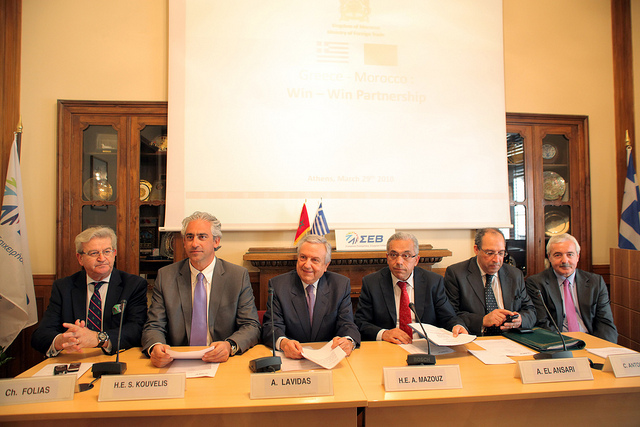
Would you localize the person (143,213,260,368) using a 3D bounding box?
[{"bbox_3d":[-0.989,0.674,4.024,0.892,1.369,0.986,3,-10,-7],"label":"person"}]

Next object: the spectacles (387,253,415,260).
[{"bbox_3d":[0.734,0.380,4.262,0.221,0.061,0.059,-1,6,11],"label":"spectacles"}]

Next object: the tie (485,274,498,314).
[{"bbox_3d":[1.601,0.743,4.442,0.105,0.328,0.140,0,7,19],"label":"tie"}]

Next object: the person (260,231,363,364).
[{"bbox_3d":[-0.089,0.697,4.215,0.874,1.292,0.932,0,-5,-5],"label":"person"}]

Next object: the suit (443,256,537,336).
[{"bbox_3d":[1.505,0.736,4.614,0.970,0.977,0.568,1,-11,-3],"label":"suit"}]

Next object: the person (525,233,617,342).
[{"bbox_3d":[2.347,0.777,4.430,0.701,1.074,0.820,-1,-4,13],"label":"person"}]

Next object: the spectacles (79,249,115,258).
[{"bbox_3d":[-1.896,0.353,4.127,0.233,0.059,0.074,-4,6,-25],"label":"spectacles"}]

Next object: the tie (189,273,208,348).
[{"bbox_3d":[-1.027,0.817,4.025,0.156,0.583,0.121,-4,7,-16],"label":"tie"}]

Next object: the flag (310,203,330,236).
[{"bbox_3d":[0.008,0.074,5.281,0.243,0.332,0.220,-4,6,-18],"label":"flag"}]

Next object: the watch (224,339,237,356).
[{"bbox_3d":[-0.693,1.068,3.805,0.060,0.115,0.076,-6,7,-32],"label":"watch"}]

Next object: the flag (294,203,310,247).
[{"bbox_3d":[-0.180,0.128,5.306,0.184,0.432,0.145,-5,7,-29],"label":"flag"}]

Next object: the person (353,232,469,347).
[{"bbox_3d":[0.796,0.928,4.300,1.023,1.458,0.812,-1,4,14],"label":"person"}]

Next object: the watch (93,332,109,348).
[{"bbox_3d":[-1.729,0.999,3.811,0.077,0.112,0.116,13,42,-29],"label":"watch"}]

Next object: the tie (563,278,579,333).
[{"bbox_3d":[2.358,0.872,4.470,0.107,0.630,0.059,-6,27,33],"label":"tie"}]

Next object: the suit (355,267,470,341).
[{"bbox_3d":[0.761,0.793,4.320,0.904,0.672,0.432,5,3,-2],"label":"suit"}]

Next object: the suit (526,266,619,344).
[{"bbox_3d":[2.397,0.874,4.552,0.730,0.726,0.442,-1,4,20],"label":"suit"}]

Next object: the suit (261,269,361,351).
[{"bbox_3d":[-0.046,0.823,4.124,0.758,0.577,0.481,-2,6,1],"label":"suit"}]

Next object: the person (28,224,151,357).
[{"bbox_3d":[-1.955,0.896,4.142,0.865,1.473,0.752,2,0,-24],"label":"person"}]
